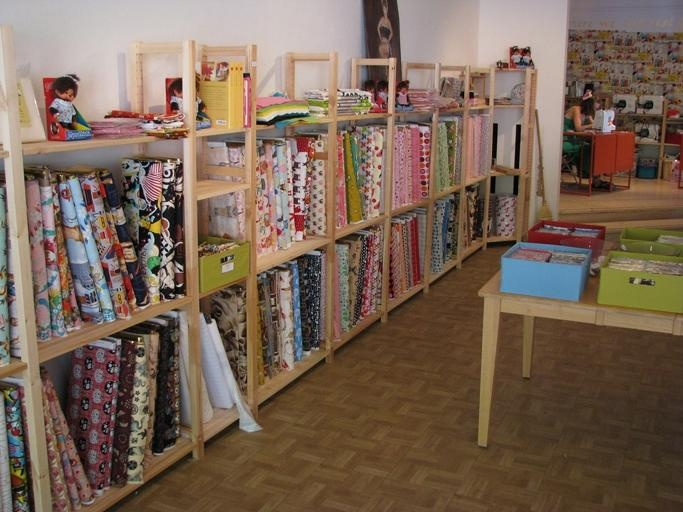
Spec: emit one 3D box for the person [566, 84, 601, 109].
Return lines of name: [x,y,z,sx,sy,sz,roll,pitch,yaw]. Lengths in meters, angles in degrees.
person: [5.519,-3.638,12.620,0.357,0.420,1.937,14,36,23]

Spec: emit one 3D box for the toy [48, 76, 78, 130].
toy: [-1.236,-0.680,2.446,0.107,0.224,0.217,-7,18,-16]
